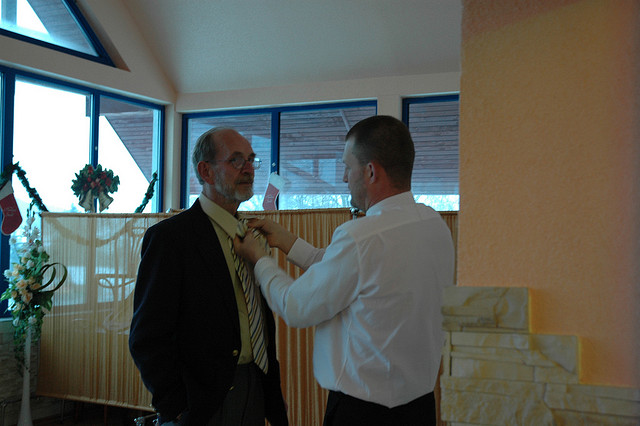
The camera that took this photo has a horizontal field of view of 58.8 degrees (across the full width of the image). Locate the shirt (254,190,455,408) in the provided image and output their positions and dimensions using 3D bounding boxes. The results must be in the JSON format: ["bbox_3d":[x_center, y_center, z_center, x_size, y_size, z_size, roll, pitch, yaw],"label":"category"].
[{"bbox_3d":[0.110,0.332,2.833,0.820,0.922,0.995,-4,12,-43],"label":"shirt"}]

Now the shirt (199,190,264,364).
[{"bbox_3d":[-0.441,0.338,2.754,0.125,0.741,0.596,-20,-28,27],"label":"shirt"}]
